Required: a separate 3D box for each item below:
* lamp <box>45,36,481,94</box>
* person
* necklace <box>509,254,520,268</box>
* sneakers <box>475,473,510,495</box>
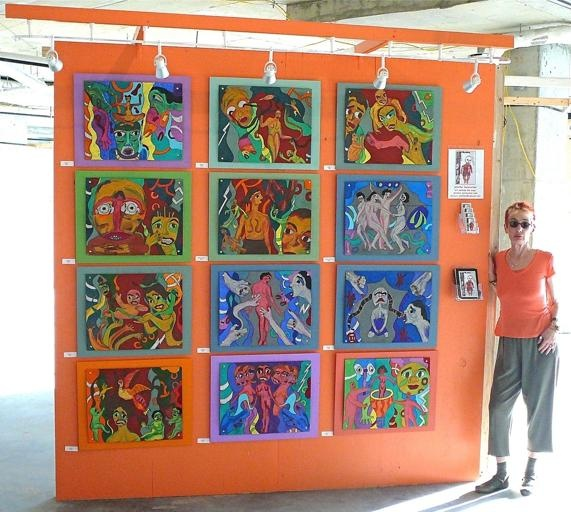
[{"bbox_3d":[-0.070,-1.308,5.813,3.126,0.291,0.385,0,15,-7],"label":"lamp"},{"bbox_3d":[1.770,0.687,6.125,0.549,2.107,0.576,5,15,13],"label":"person"},{"bbox_3d":[1.697,0.040,6.094,0.076,0.104,0.027,-2,-3,33],"label":"necklace"},{"bbox_3d":[1.563,1.715,6.241,0.295,0.122,0.104,-6,-2,-21],"label":"sneakers"}]
